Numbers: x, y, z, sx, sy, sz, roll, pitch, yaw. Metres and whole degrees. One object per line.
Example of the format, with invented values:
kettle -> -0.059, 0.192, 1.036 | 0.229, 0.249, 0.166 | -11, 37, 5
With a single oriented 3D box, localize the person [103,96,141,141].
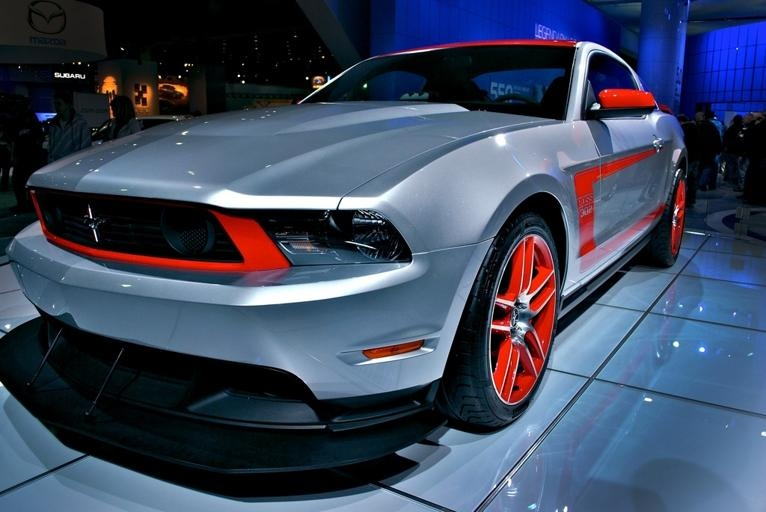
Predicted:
person -> -3.578, -1.863, 6.559 | 0.699, 0.675, 0.394 | 15, 21, 40
